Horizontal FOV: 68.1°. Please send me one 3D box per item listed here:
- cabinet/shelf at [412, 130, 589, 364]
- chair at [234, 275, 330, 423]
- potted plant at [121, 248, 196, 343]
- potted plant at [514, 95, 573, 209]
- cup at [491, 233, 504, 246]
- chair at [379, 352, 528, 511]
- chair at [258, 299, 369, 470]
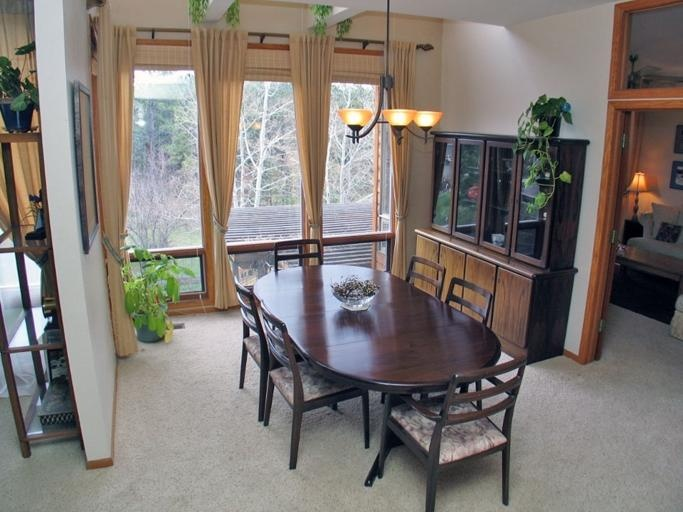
[{"bbox_3d":[1.580,-0.073,4.782,0.640,2.425,2.028,-3,9,-23],"label":"cabinet/shelf"},{"bbox_3d":[-0.499,0.760,4.426,0.812,1.357,0.839,-3,17,-10],"label":"chair"},{"bbox_3d":[-1.982,0.375,5.254,0.533,0.981,0.838,-8,17,-25],"label":"potted plant"},{"bbox_3d":[1.897,-0.958,4.749,0.541,1.060,0.700,5,16,21],"label":"potted plant"},{"bbox_3d":[1.576,-0.177,5.117,0.086,0.108,0.113,-1,-4,-10],"label":"cup"},{"bbox_3d":[0.711,1.191,3.352,0.651,1.091,0.698,-8,21,-27],"label":"chair"},{"bbox_3d":[-0.219,0.915,3.877,0.751,1.170,0.723,-12,18,-36],"label":"chair"}]
